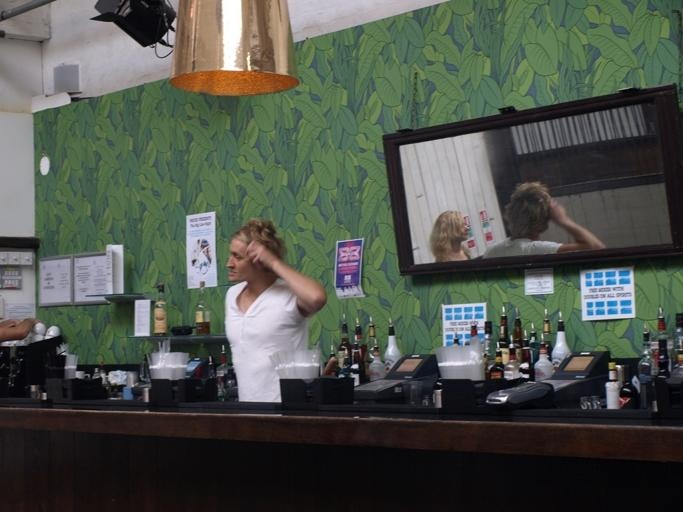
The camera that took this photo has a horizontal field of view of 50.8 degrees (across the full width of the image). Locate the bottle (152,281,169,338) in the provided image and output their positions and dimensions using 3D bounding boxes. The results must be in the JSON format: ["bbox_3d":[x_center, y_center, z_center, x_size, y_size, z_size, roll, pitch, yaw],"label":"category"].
[{"bbox_3d":[-1.340,0.387,5.293,0.140,0.326,0.333,-10,5,-14],"label":"bottle"}]

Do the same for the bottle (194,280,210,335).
[{"bbox_3d":[-1.000,0.369,5.113,0.116,0.315,0.246,-10,5,-10],"label":"bottle"}]

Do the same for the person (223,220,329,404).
[{"bbox_3d":[-0.373,0.266,3.783,0.484,0.733,0.739,-10,5,-13],"label":"person"}]

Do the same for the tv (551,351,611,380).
[{"bbox_3d":[1.171,0.532,3.504,0.178,0.083,0.165,-6,-7,-42],"label":"tv"}]

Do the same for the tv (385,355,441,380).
[{"bbox_3d":[0.372,0.643,4.001,0.231,0.088,0.356,-6,7,41],"label":"tv"}]

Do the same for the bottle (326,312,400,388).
[{"bbox_3d":[0.152,0.570,4.391,0.404,0.274,0.470,-10,5,3],"label":"bottle"}]

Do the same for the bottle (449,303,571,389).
[{"bbox_3d":[0.959,0.499,3.772,0.443,0.254,0.505,-9,6,15],"label":"bottle"}]
